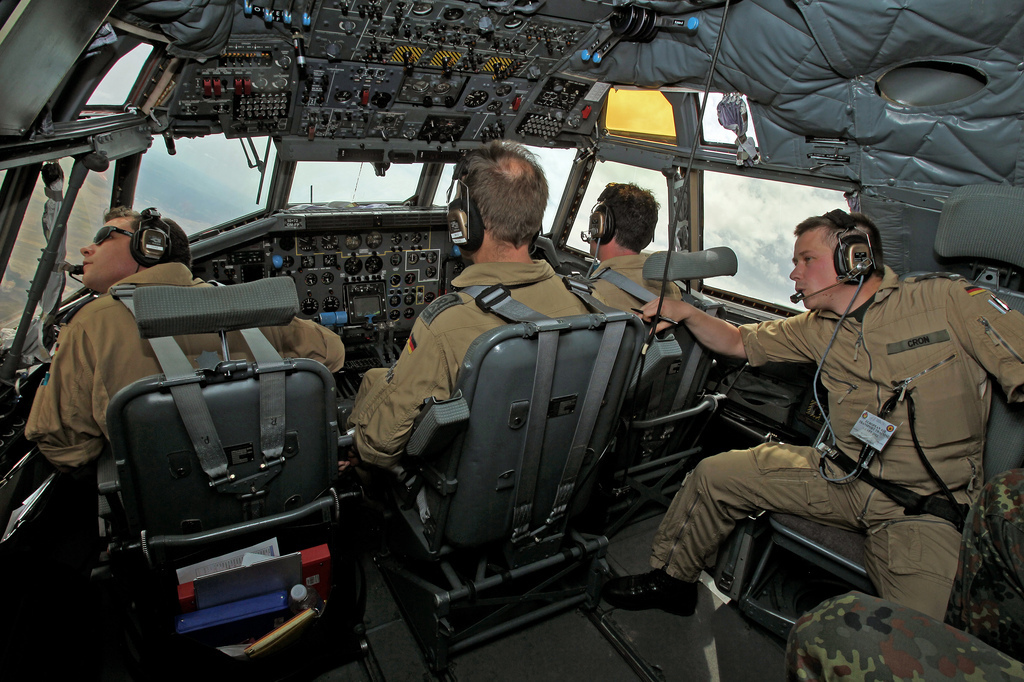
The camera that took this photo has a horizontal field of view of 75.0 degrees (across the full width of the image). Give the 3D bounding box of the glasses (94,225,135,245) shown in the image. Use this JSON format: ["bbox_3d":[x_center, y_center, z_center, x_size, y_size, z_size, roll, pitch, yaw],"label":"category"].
[{"bbox_3d":[-2.015,-0.537,3.333,0.118,0.038,0.113,-2,-9,-3],"label":"glasses"}]

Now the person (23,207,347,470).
[{"bbox_3d":[-1.585,-0.007,3.082,1.260,1.128,0.640,-18,32,-6],"label":"person"}]

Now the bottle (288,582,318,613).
[{"bbox_3d":[-0.915,1.103,2.888,0.079,0.105,0.108,-33,45,-12],"label":"bottle"}]

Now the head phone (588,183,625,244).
[{"bbox_3d":[0.528,-0.729,3.774,0.113,0.251,0.301,9,-26,15],"label":"head phone"}]

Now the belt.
[{"bbox_3d":[1.858,0.720,3.229,0.426,0.100,0.303,34,31,24],"label":"belt"}]

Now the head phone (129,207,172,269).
[{"bbox_3d":[-1.886,-0.562,3.459,0.155,0.280,0.324,8,-2,-40],"label":"head phone"}]

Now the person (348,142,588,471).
[{"bbox_3d":[-0.206,-0.132,2.984,0.935,1.466,0.592,-10,22,-37],"label":"person"}]

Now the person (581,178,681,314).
[{"bbox_3d":[0.590,-0.483,3.847,0.586,0.734,0.312,0,-11,-33],"label":"person"}]

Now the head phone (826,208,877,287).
[{"bbox_3d":[1.774,-0.524,3.535,0.197,0.382,0.456,-21,-1,22],"label":"head phone"}]

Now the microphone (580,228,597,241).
[{"bbox_3d":[0.429,-0.618,3.868,0.080,0.040,0.081,-5,13,-24],"label":"microphone"}]

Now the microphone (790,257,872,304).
[{"bbox_3d":[1.623,-0.356,3.401,0.302,0.145,0.245,-20,6,-1],"label":"microphone"}]
